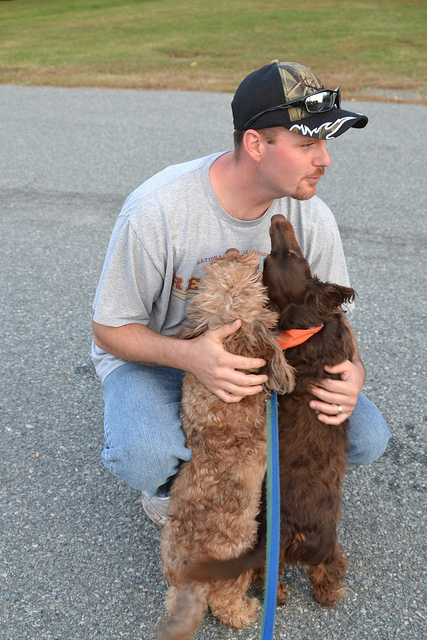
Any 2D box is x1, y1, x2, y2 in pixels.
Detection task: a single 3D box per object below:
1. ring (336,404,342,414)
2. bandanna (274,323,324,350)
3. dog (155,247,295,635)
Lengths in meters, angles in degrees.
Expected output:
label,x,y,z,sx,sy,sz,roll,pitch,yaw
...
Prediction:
label,x,y,z,sx,sy,sz,roll,pitch,yaw
ring,0.521,0.365,2.754,0.008,0.027,0.031,-7,8,-10
bandanna,0.358,0.074,2.760,0.251,0.127,0.064,-12,36,-20
dog,0.056,0.438,2.697,0.572,1.432,0.678,6,-3,12
